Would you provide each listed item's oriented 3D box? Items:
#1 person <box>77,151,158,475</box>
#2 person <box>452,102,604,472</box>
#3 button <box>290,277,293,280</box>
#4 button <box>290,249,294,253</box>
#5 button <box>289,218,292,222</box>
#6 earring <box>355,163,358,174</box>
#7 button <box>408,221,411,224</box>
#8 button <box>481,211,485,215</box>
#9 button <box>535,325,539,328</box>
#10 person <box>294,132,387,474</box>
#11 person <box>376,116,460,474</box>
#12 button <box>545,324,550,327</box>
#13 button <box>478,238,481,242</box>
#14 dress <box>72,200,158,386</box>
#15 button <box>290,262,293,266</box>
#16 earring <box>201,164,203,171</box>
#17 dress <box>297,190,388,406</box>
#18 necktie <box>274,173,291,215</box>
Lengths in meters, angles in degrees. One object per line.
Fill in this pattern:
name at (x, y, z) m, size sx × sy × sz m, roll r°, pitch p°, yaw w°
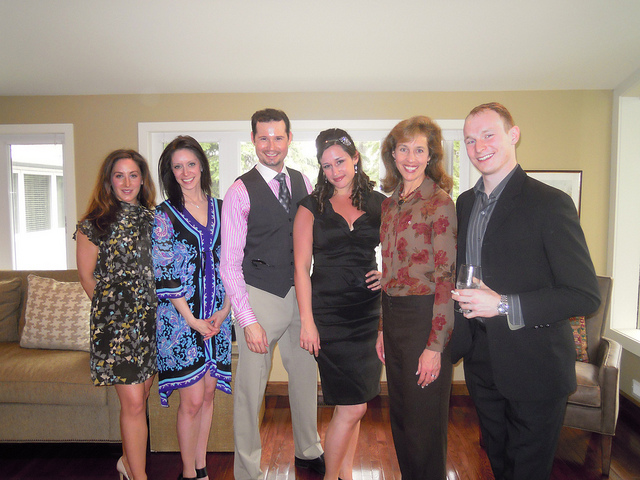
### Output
person at (-1.284, 0.467, 3.398) m, size 0.507 × 2.090 × 0.255 m, roll -4°, pitch 3°, yaw -26°
person at (1.112, 0.292, 2.864) m, size 0.736 × 2.097 × 0.433 m, roll -2°, pitch 3°, yaw 14°
button at (-0.183, 0.245, 3.318) m, size 0.011 × 0.021 × 0.011 m, roll -2°, pitch 33°, yaw 13°
button at (-0.181, 0.070, 3.299) m, size 0.021 × 0.022 × 0.006 m, roll -4°, pitch 3°, yaw -6°
button at (-0.194, -0.128, 3.308) m, size 0.021 × 0.021 × 0.005 m, roll -9°, pitch 7°, yaw -42°
earring at (0.230, -0.453, 3.303) m, size 0.023 × 0.067 × 0.008 m, roll -5°, pitch 4°, yaw -36°
button at (0.515, -0.101, 2.995) m, size 0.012 × 0.013 × 0.003 m, roll 0°, pitch -8°, yaw 14°
button at (0.918, -0.152, 2.930) m, size 0.018 × 0.019 × 0.004 m, roll 0°, pitch -14°, yaw 24°
button at (1.149, 0.457, 2.753) m, size 0.018 × 0.005 × 0.020 m, roll 13°, pitch -35°, yaw -1°
person at (0.145, 0.406, 3.312) m, size 0.588 × 2.147 × 0.196 m, roll -3°, pitch 3°, yaw -2°
person at (0.574, 0.305, 3.088) m, size 0.486 × 2.052 × 0.383 m, roll -2°, pitch 3°, yaw 23°
button at (1.207, 0.453, 2.762) m, size 0.014 × 0.010 × 0.026 m, roll 1°, pitch -7°, yaw 11°
button at (0.892, -0.003, 2.908) m, size 0.018 × 0.018 × 0.005 m, roll 0°, pitch -10°, yaw 30°
dress at (-1.300, 0.333, 3.373) m, size 0.469 × 1.185 × 0.232 m, roll -4°, pitch 3°, yaw -26°
button at (-0.184, 0.149, 3.310) m, size 0.021 × 0.022 × 0.005 m, roll 1°, pitch 1°, yaw -23°
earring at (-0.785, -0.476, 3.441) m, size 0.005 × 0.037 × 0.015 m, roll -2°, pitch 3°, yaw 9°
dress at (0.244, 0.334, 3.298) m, size 0.567 × 1.776 × 0.519 m, roll -5°, pitch 13°, yaw -13°
necktie at (-0.236, -0.298, 3.318) m, size 0.094 × 0.250 × 0.049 m, roll -3°, pitch 3°, yaw -9°
